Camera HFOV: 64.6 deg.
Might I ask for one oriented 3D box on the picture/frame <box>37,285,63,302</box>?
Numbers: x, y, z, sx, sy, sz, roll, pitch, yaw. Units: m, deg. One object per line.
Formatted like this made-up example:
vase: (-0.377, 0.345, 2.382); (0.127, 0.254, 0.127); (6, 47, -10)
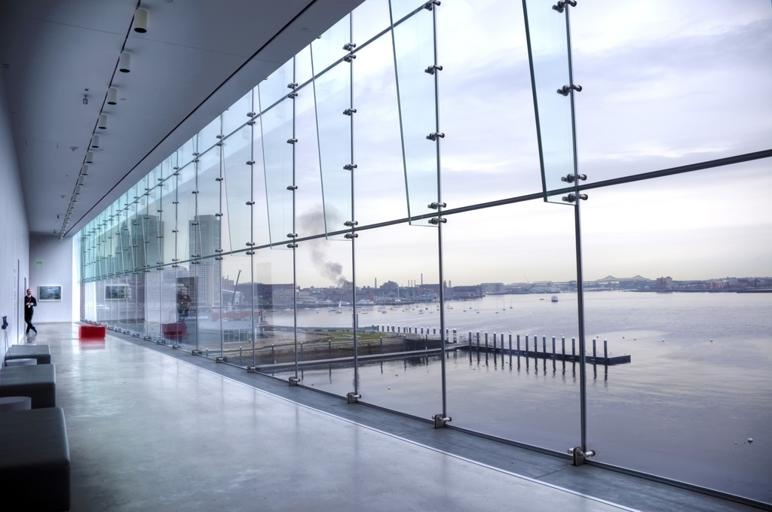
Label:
picture/frame: (-16.334, 1.792, 29.613); (0.952, 0.835, 0.089); (1, -2, -35)
